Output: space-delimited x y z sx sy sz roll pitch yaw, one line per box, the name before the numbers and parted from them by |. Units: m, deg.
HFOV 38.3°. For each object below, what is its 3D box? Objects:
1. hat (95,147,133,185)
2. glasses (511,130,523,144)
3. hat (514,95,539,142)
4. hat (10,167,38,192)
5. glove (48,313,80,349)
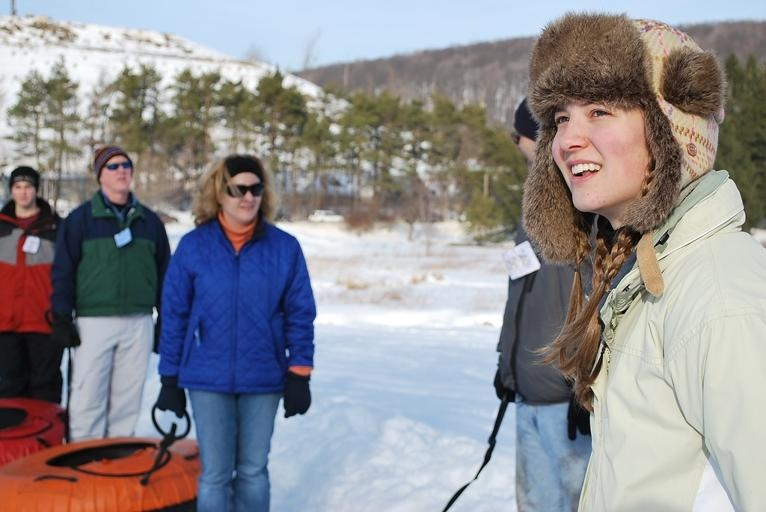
hat | -2.725 -0.932 11.020 0.285 0.199 0.351 -4 -23 -44
glasses | 1.207 -1.071 9.941 0.076 0.113 0.106 -2 -4 -5
hat | 1.218 -1.235 9.714 0.253 0.351 0.124 5 7 39
hat | -3.707 -0.820 11.414 0.247 0.213 0.265 3 -13 -14
glove | -3.097 0.735 10.762 0.269 0.332 0.144 -2 4 -20
